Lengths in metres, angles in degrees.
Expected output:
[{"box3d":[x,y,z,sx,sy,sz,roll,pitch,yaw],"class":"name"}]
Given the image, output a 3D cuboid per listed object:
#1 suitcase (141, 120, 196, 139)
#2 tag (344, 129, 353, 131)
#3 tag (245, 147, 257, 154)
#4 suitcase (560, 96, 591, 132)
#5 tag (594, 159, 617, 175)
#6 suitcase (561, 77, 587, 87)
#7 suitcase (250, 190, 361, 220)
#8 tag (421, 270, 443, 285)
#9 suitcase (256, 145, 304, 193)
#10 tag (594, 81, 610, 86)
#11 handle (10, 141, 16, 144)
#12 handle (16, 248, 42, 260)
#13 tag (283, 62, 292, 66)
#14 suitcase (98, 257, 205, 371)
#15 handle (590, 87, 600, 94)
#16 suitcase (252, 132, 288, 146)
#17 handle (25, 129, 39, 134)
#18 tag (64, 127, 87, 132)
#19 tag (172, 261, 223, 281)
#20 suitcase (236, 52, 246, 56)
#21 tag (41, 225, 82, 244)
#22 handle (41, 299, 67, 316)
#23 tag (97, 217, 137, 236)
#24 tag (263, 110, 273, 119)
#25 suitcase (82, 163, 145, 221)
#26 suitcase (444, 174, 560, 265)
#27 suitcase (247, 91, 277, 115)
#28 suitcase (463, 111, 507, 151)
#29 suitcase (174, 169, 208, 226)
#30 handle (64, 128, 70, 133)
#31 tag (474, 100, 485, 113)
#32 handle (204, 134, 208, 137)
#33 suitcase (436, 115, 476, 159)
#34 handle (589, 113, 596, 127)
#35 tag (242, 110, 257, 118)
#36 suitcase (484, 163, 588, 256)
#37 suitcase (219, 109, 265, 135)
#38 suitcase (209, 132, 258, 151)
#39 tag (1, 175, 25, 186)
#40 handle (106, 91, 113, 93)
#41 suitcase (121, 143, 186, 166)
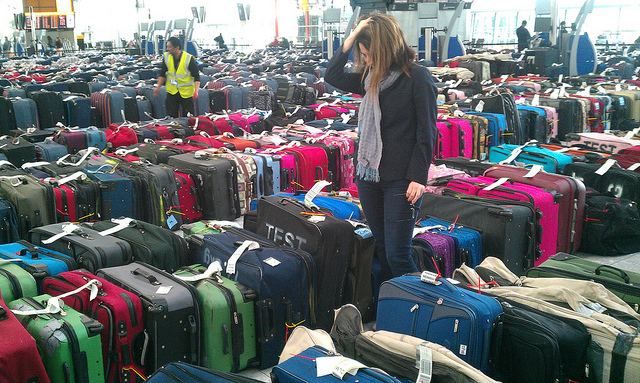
[{"box3d":[-2.358,-1.019,8.791,0.574,0.171,0.439,19,22,34],"class":"suitcase"},{"box3d":[0.443,-0.949,8.485,0.093,0.009,0.185,0,11,0],"class":"tag"},{"box3d":[-0.964,-0.554,7.507,0.103,0.045,0.127,-4,16,-39],"class":"tag"},{"box3d":[4.491,-1.338,9.555,0.399,0.703,0.461,-13,17,-29],"class":"suitcase"},{"box3d":[3.453,-0.299,6.595,0.343,0.100,0.051,-41,15,-11],"class":"tag"},{"box3d":[5.669,-2.386,11.929,0.567,0.176,0.334,-5,9,-13],"class":"suitcase"},{"box3d":[0.035,0.118,5.839,0.667,0.199,0.515,21,19,35],"class":"suitcase"},{"box3d":[0.874,0.680,4.324,0.129,0.097,0.081,14,0,17],"class":"tag"},{"box3d":[-0.510,-0.387,7.711,0.526,0.928,0.638,-7,14,-25],"class":"suitcase"},{"box3d":[5.972,-2.262,11.487,0.199,0.064,0.272,-2,7,12],"class":"tag"},{"box3d":[-4.244,-0.664,7.448,0.039,0.012,0.036,3,33,-5],"class":"handle"},{"box3d":[-2.642,0.546,4.873,0.342,0.070,0.078,12,16,33],"class":"handle"},{"box3d":[-1.158,-4.302,18.469,0.316,0.074,0.302,-5,6,0],"class":"tag"},{"box3d":[-1.378,1.020,4.386,0.304,0.701,0.753,-11,16,-41],"class":"suitcase"},{"box3d":[5.457,-2.000,10.809,0.212,0.055,0.202,-1,29,7],"class":"handle"},{"box3d":[-0.695,-0.768,8.042,0.347,0.101,0.276,9,12,32],"class":"suitcase"},{"box3d":[-4.349,-0.892,8.138,0.108,0.039,0.082,35,32,27],"class":"handle"},{"box3d":[-3.821,-0.935,8.286,0.175,0.046,0.174,2,5,-1],"class":"tag"},{"box3d":[-1.042,0.673,4.698,0.281,0.079,0.184,0,8,-27],"class":"tag"},{"box3d":[-4.062,-7.007,27.958,0.581,0.147,0.532,3,10,17],"class":"suitcase"},{"box3d":[-2.405,0.393,5.021,0.294,0.096,0.169,-23,31,-22],"class":"tag"},{"box3d":[-2.111,0.917,4.293,0.179,0.118,0.061,2,45,8],"class":"handle"},{"box3d":[-1.945,0.334,5.153,0.263,0.065,0.143,-20,37,-35],"class":"tag"},{"box3d":[-0.919,-1.330,9.504,0.064,0.050,0.214,-7,31,30],"class":"tag"},{"box3d":[-2.549,-0.027,6.709,0.575,0.900,0.975,-7,16,-29],"class":"suitcase"},{"box3d":[1.991,0.289,6.229,0.685,0.866,1.212,-8,16,-38],"class":"suitcase"},{"box3d":[-1.139,-1.709,10.680,0.520,0.490,0.400,6,17,25],"class":"suitcase"},{"box3d":[2.564,-0.909,8.468,0.350,0.560,0.603,-15,19,-35],"class":"suitcase"},{"box3d":[-1.623,0.049,6.778,0.361,0.639,0.257,-4,13,-15],"class":"suitcase"},{"box3d":[-3.885,-0.921,8.272,0.034,0.060,0.105,-34,25,-29],"class":"handle"},{"box3d":[2.607,-1.368,8.852,0.054,0.173,0.131,15,13,-4],"class":"tag"},{"box3d":[-1.753,-0.845,8.250,0.049,0.039,0.074,4,-19,-11],"class":"handle"},{"box3d":[2.221,-0.754,8.828,0.568,0.862,0.961,-7,9,15],"class":"suitcase"},{"box3d":[4.951,-1.260,9.822,0.057,0.174,0.173,-4,11,12],"class":"handle"},{"box3d":[-1.240,-1.321,9.381,0.205,0.093,0.273,-2,6,-4],"class":"tag"},{"box3d":[2.539,0.379,6.562,0.432,0.997,1.186,12,-11,-30],"class":"suitcase"},{"box3d":[-1.315,-1.147,9.170,0.336,0.496,0.523,-8,14,-42],"class":"suitcase"},{"box3d":[-1.266,-0.736,7.986,0.491,0.142,0.377,18,19,39],"class":"suitcase"},{"box3d":[-3.367,-0.115,5.946,0.146,0.036,0.146,33,35,32],"class":"tag"},{"box3d":[-3.988,-1.857,10.182,0.059,0.042,0.058,-1,9,-12],"class":"handle"},{"box3d":[-2.310,-0.544,7.456,0.465,0.151,0.462,11,16,30],"class":"suitcase"}]
